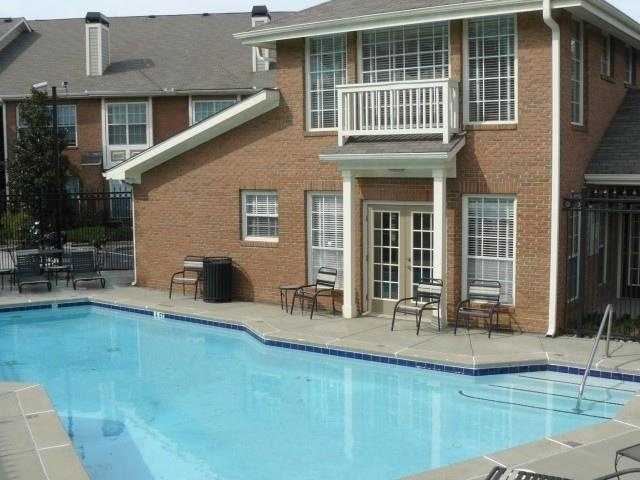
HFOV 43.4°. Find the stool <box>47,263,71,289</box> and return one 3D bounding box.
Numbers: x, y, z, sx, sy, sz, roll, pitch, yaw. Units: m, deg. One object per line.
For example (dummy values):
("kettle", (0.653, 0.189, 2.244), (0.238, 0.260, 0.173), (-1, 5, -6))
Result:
("stool", (-8.136, 1.256, 25.311), (0.933, 0.877, 0.837), (-2, 4, -28))

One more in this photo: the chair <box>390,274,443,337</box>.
("chair", (2.339, 1.563, 19.571), (1.303, 1.748, 1.215), (1, 1, -44))

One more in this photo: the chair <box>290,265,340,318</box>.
("chair", (-0.123, 1.347, 20.818), (0.919, 1.232, 0.976), (6, 5, 38))

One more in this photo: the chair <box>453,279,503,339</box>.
("chair", (3.693, 1.608, 18.793), (1.143, 1.213, 1.152), (-3, 7, -31))

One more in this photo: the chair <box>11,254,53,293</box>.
("chair", (-8.676, 1.007, 24.249), (0.940, 0.952, 1.604), (1, 5, -28))

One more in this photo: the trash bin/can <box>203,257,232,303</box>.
("trash bin/can", (-2.833, 1.145, 22.422), (0.817, 1.255, 0.500), (0, 1, -7))

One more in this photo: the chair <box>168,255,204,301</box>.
("chair", (-3.712, 1.145, 23.068), (1.056, 1.186, 1.032), (1, 7, 1))

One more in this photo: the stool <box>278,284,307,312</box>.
("stool", (-0.786, 1.555, 21.637), (0.702, 0.629, 0.707), (-1, 3, -26))
